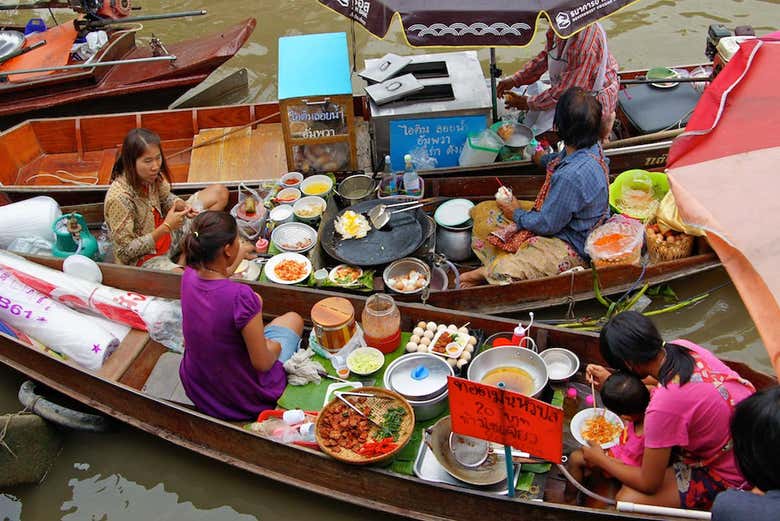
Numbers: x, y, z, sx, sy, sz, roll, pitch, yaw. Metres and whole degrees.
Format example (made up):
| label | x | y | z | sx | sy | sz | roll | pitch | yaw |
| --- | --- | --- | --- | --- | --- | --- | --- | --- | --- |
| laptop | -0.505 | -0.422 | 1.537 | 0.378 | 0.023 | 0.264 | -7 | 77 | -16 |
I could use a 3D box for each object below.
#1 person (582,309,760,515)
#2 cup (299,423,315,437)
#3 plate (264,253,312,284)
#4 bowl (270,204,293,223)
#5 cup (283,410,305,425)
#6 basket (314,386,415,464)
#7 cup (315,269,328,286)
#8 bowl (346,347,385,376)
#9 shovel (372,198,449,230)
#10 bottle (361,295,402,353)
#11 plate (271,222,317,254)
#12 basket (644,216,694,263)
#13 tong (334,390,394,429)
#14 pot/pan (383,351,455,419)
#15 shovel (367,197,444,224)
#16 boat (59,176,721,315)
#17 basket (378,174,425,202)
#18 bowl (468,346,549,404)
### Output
| label | x | y | z | sx | sy | sz | roll | pitch | yaw |
| --- | --- | --- | --- | --- | --- | --- | --- | --- | --- |
| person | 2.071 | 1.195 | 3.881 | 1.032 | 1.445 | 0.684 | 6 | 58 | 34 |
| cup | -0.693 | 1.414 | 4.288 | 0.090 | 0.120 | 0.111 | -7 | 3 | 17 |
| plate | -1.092 | 0.091 | 5.506 | 0.349 | 0.071 | 0.349 | -14 | 49 | -17 |
| bowl | -1.282 | -0.555 | 6.061 | 0.220 | 0.156 | 0.224 | -1 | 46 | 1 |
| cup | -0.827 | 1.318 | 4.407 | 0.133 | 0.139 | 0.126 | -1 | 87 | 10 |
| basket | -0.218 | 1.318 | 4.200 | 0.796 | 0.187 | 0.612 | -2 | 45 | 9 |
| cup | -0.736 | 0.166 | 5.384 | 0.116 | 0.077 | 0.169 | 15 | 43 | 20 |
| bowl | -0.237 | 0.928 | 4.751 | 0.258 | 0.103 | 0.261 | 0 | 51 | 0 |
| shovel | 0.228 | -0.619 | 5.961 | 0.934 | 0.129 | 0.292 | -16 | 47 | -15 |
| bottle | -0.089 | 0.608 | 4.909 | 0.369 | 0.525 | 0.360 | -2 | 31 | 1 |
| plate | -1.087 | -0.249 | 5.837 | 0.385 | 0.128 | 0.390 | 6 | 45 | 0 |
| basket | 3.059 | -0.174 | 5.755 | 0.449 | 0.337 | 0.449 | -8 | 41 | -2 |
| tong | -0.286 | 1.256 | 4.370 | 0.386 | 0.032 | 0.262 | 28 | 46 | 17 |
| pot/pan | 0.262 | 1.175 | 4.722 | 0.716 | 0.383 | 0.705 | -4 | 2 | -20 |
| shovel | 0.220 | -0.606 | 5.951 | 0.952 | 0.104 | 0.287 | -13 | 42 | -4 |
| boat | 0.124 | -0.104 | 5.458 | 5.821 | 0.873 | 1.282 | -2 | 54 | 0 |
| basket | 0.111 | -0.845 | 6.165 | 0.478 | 0.179 | 0.324 | 2 | 54 | 4 |
| bowl | 1.058 | 0.958 | 4.582 | 0.650 | 0.192 | 0.353 | 9 | 48 | 18 |
